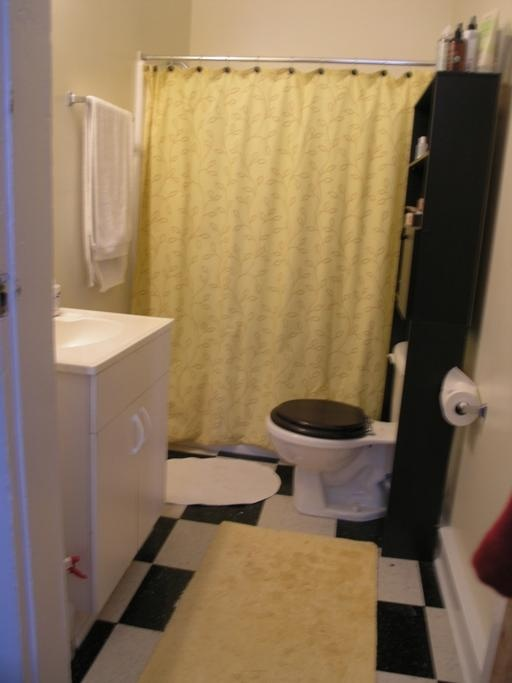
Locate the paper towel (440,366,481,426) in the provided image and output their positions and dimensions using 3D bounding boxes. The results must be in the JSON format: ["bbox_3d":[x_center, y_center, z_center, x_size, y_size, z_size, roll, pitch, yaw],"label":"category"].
[{"bbox_3d":[0.638,0.182,1.723,0.109,0.185,0.150,-8,0,7],"label":"paper towel"}]

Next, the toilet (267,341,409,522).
[{"bbox_3d":[0.285,0.315,2.449,0.683,0.897,0.467,6,19,12],"label":"toilet"}]

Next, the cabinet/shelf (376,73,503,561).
[{"bbox_3d":[0.593,-0.009,1.800,0.216,1.614,0.111,3,9,4],"label":"cabinet/shelf"}]

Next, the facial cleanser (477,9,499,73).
[{"bbox_3d":[0.690,-0.901,1.645,0.036,0.151,0.067,-6,23,-20],"label":"facial cleanser"}]
